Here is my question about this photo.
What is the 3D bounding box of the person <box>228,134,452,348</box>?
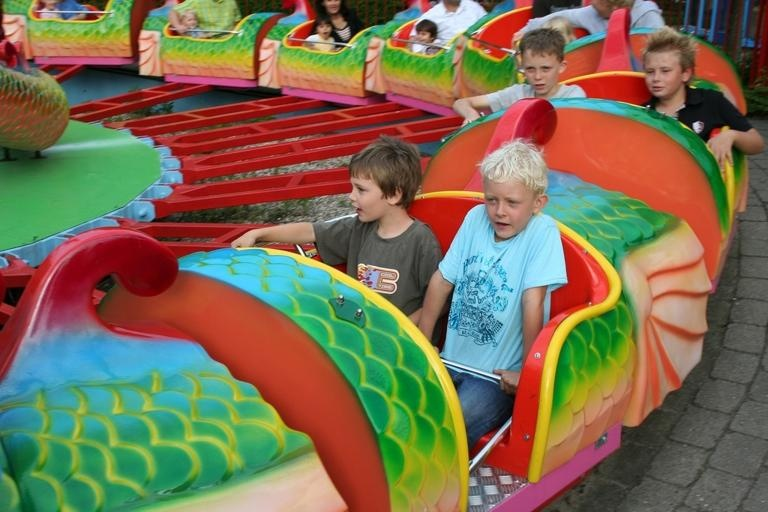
[{"bbox_3d":[-0.085,-0.103,2.394,0.724,0.907,0.836,-9,16,-30],"label":"person"}]
